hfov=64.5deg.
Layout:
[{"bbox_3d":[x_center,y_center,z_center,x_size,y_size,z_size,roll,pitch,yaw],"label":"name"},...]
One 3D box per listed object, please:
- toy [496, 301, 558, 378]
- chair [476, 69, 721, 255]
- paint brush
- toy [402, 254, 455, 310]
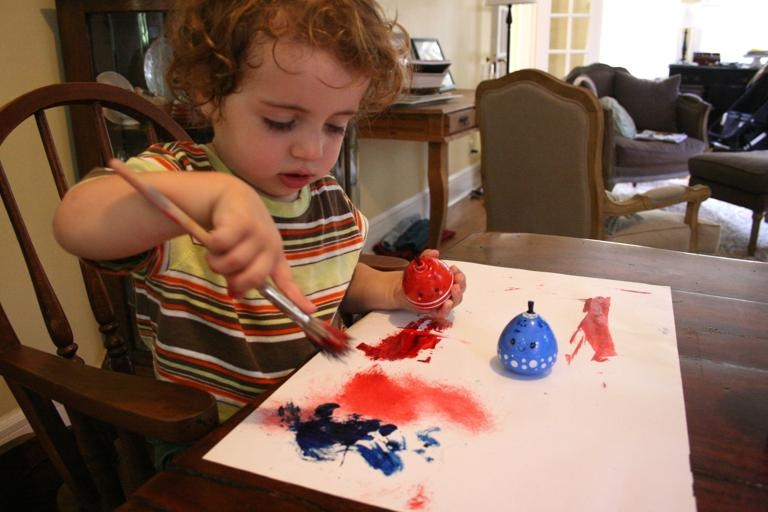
[{"bbox_3d":[0.253,0.146,1.011,0.097,0.132,0.099,-2,-10,33],"label":"toy"},{"bbox_3d":[0.749,-0.387,2.514,0.744,1.066,0.677,-19,29,-34],"label":"chair"},{"bbox_3d":[-0.273,0.010,1.104,0.594,0.095,0.096,39,-12,-9],"label":"paint brush"},{"bbox_3d":[0.082,0.050,1.166,0.094,0.132,0.096,-6,20,7],"label":"toy"}]
